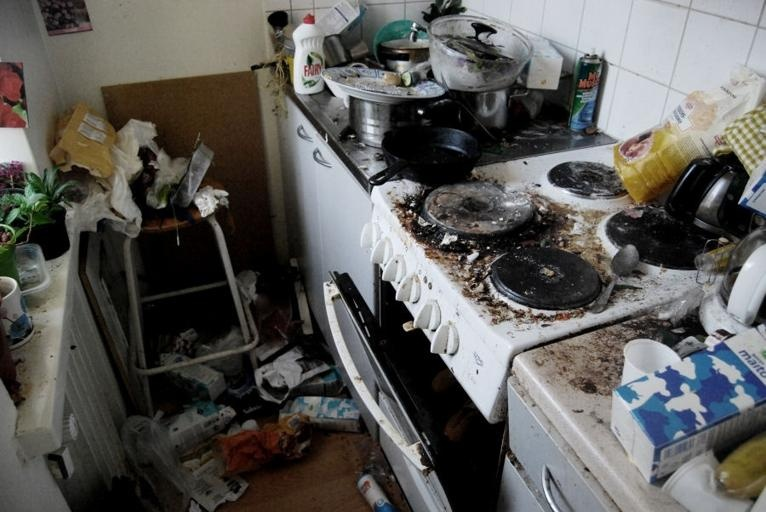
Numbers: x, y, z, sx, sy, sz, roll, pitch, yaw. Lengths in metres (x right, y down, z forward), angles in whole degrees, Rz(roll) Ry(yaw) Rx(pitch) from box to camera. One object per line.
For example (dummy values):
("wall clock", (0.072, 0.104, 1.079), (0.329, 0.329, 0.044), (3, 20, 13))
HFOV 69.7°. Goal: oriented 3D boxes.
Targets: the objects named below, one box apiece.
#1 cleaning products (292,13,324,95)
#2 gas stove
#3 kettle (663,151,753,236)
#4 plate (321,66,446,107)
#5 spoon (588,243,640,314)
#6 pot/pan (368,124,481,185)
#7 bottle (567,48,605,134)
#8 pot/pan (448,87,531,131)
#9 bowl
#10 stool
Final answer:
("cleaning products", (-0.299, -0.803, 2.192), (0.131, 0.284, 0.114), (-2, 32, -6))
("gas stove", (0.378, 0.025, 1.523), (0.707, 0.338, 0.691), (-11, 34, -20))
("kettle", (0.820, -0.160, 1.447), (0.217, 0.219, 0.133), (-41, 38, -14))
("plate", (0.009, -0.585, 1.895), (0.257, 0.067, 0.248), (4, 37, -9))
("spoon", (0.553, 0.061, 1.277), (0.069, 0.037, 0.280), (-6, 27, 31))
("pot/pan", (0.111, -0.307, 1.678), (0.192, 0.062, 0.291), (30, 48, 32))
("bottle", (0.679, -0.546, 1.846), (0.092, 0.247, 0.086), (1, 32, -1))
("pot/pan", (0.374, -0.505, 1.884), (0.168, 0.080, 0.208), (-11, 26, -42))
("bowl", (0.322, -0.680, 1.903), (0.354, 0.202, 0.377), (3, 30, -2))
("stool", (-0.848, 0.118, 2.331), (0.539, 0.833, 0.673), (-15, 36, -26))
